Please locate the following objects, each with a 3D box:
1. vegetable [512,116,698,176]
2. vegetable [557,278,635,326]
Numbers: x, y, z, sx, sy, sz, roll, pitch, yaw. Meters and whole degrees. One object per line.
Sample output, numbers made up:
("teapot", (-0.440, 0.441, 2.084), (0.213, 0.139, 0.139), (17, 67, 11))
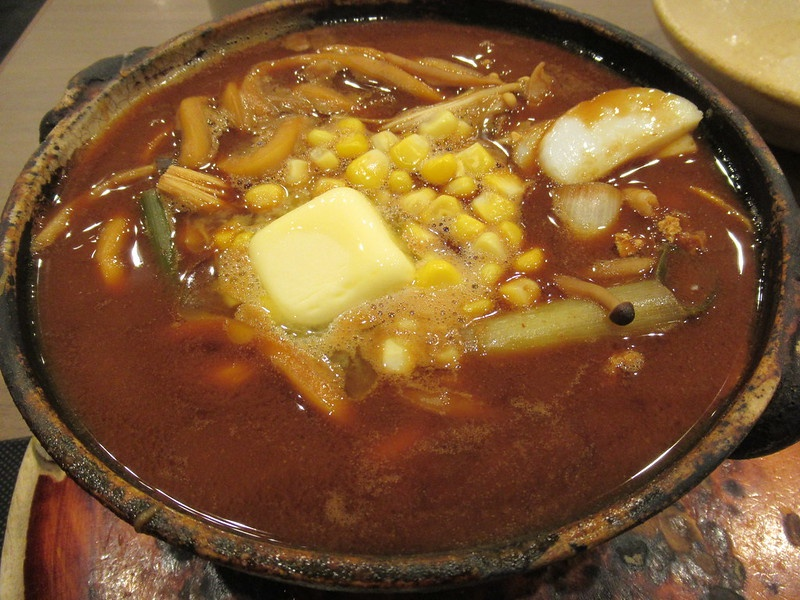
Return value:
("vegetable", (0.773, -0.647, 3.365), (0.533, 0.117, 0.310), (-8, 48, 3))
("vegetable", (0.718, -0.008, 3.036), (0.316, 0.084, 0.111), (29, 94, 25))
